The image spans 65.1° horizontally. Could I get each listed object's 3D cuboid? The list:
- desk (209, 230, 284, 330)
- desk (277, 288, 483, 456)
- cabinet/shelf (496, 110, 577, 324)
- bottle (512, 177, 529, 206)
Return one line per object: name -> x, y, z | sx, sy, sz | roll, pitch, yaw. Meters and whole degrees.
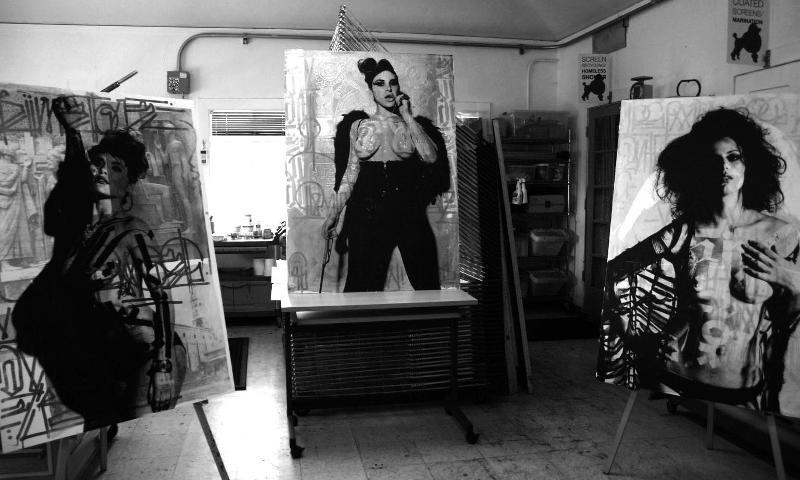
desk -> -2.177, 0.548, 8.353 | 1.231, 1.126, 0.679 | -5, -7, -6
desk -> -0.238, 1.065, 5.541 | 1.629, 1.068, 1.053 | -2, -5, -6
cabinet/shelf -> 1.855, -0.345, 8.450 | 1.028, 2.713, 0.732 | -2, 13, -5
bottle -> 1.587, -0.622, 8.290 | 0.197, 0.365, 0.261 | 2, 13, 10
